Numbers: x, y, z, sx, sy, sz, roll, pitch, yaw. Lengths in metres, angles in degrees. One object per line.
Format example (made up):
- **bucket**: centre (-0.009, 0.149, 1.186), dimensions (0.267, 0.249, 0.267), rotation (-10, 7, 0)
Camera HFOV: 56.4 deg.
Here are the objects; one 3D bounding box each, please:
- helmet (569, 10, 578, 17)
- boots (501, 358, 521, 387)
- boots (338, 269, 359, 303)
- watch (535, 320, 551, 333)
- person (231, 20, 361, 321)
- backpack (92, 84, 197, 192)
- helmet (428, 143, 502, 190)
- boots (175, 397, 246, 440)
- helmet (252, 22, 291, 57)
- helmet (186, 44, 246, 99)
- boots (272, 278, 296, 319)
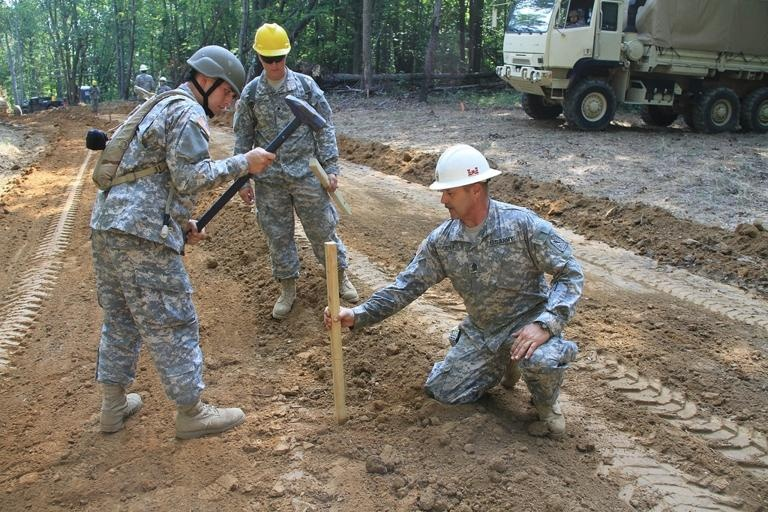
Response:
- **helmet**: centre (4.051, -5.152, 15.204), dimensions (0.141, 0.091, 0.134), rotation (-3, 6, -3)
- **boots**: centre (1.169, 1.099, 6.632), dimensions (0.107, 0.255, 0.187), rotation (11, 18, -16)
- **boots**: centre (-0.372, 0.355, 7.967), dimensions (0.149, 0.180, 0.424), rotation (-25, 59, -29)
- **watch**: centre (1.345, 0.596, 6.030), dimensions (0.099, 0.027, 0.102), rotation (36, -13, 19)
- **person**: centre (-0.967, -0.897, 7.580), dimensions (1.217, 2.923, 0.987), rotation (-5, 8, -11)
- **backpack**: centre (-2.051, -0.975, 6.027), dimensions (0.787, 0.849, 0.328), rotation (-5, 19, -20)
- **helmet**: centre (0.706, -0.754, 6.204), dimensions (0.544, 0.388, 0.317), rotation (3, 17, 4)
- **boots**: centre (-1.557, 1.473, 6.448), dimensions (0.629, 0.250, 0.225), rotation (-7, 9, -32)
- **helmet**: centre (-1.129, -2.181, 7.153), dimensions (0.319, 0.193, 0.382), rotation (-7, 34, -17)
- **helmet**: centre (-1.410, -1.613, 6.241), dimensions (0.517, 0.298, 0.351), rotation (26, 12, -10)
- **boots**: centre (-1.070, 0.490, 7.864), dimensions (0.203, 0.319, 0.513), rotation (6, 18, 10)
